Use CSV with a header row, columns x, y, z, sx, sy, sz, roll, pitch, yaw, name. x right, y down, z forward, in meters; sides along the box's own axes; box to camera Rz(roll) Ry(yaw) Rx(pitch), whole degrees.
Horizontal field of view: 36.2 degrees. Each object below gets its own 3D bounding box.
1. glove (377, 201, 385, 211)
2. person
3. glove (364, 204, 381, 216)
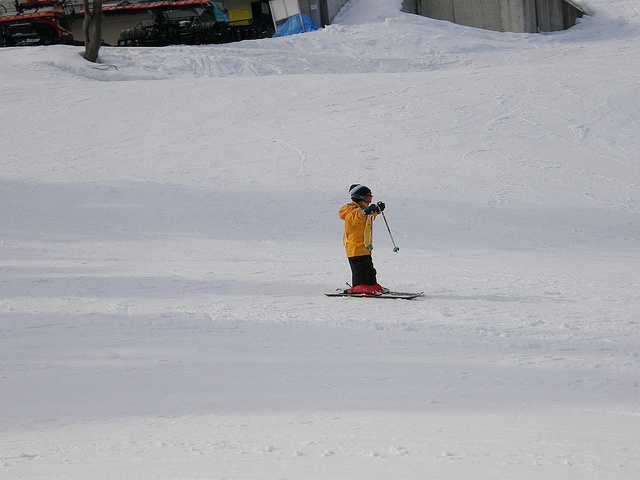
x,y,z,sx,sy,sz,roll,pitch,yaw,name
0.942,-0.526,14.678,0.182,0.119,0.057,0,5,0,glove
0.684,-0.026,15.020,0.684,1.645,0.932,-6,18,3,person
0.786,-0.465,14.811,0.236,0.178,0.266,-3,13,2,glove
